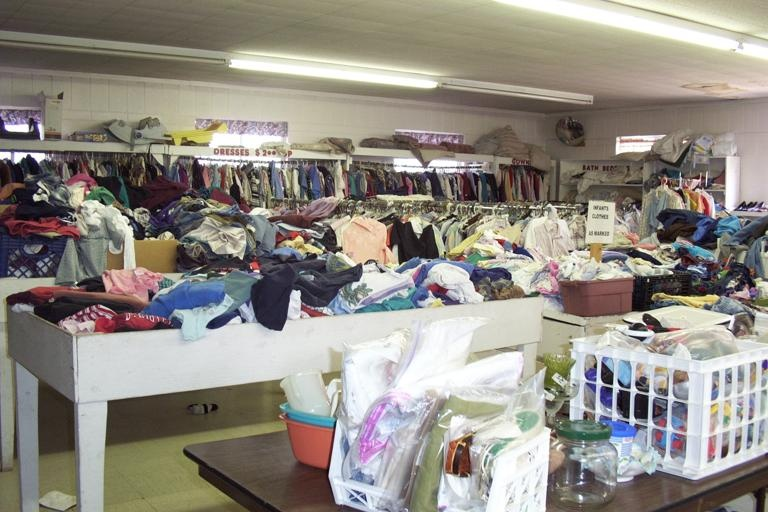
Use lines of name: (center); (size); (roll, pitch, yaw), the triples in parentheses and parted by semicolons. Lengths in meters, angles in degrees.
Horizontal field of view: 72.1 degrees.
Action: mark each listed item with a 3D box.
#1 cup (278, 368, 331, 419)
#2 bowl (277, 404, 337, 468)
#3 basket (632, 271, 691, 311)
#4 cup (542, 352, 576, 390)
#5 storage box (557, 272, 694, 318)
cup: (-0.279, 0.535, 2.042); (0.167, 0.160, 0.174); (-13, -8, -2)
bowl: (-0.275, 0.652, 1.920); (0.206, 0.127, 0.191); (3, -2, 0)
basket: (2.297, 0.286, 4.353); (0.494, 0.190, 0.284); (-3, 6, -27)
cup: (0.627, 0.414, 1.960); (0.140, 0.138, 0.145); (1, 0, 0)
storage box: (1.946, 0.301, 4.277); (1.108, 0.318, 0.244); (-1, 10, -20)
